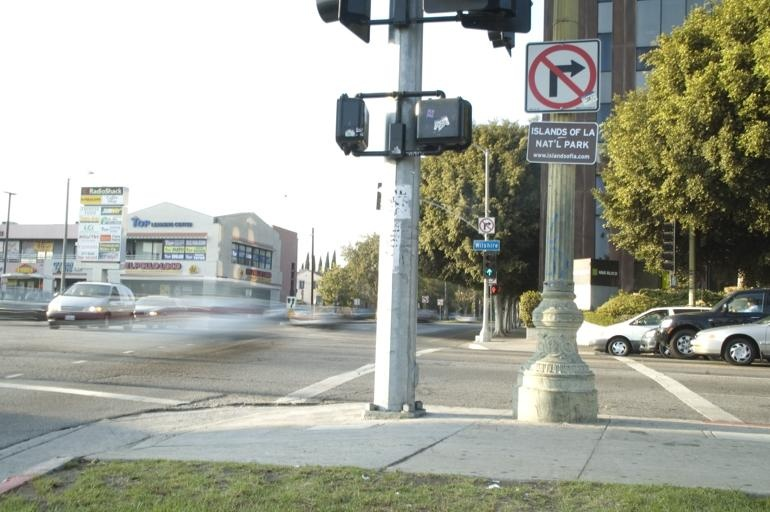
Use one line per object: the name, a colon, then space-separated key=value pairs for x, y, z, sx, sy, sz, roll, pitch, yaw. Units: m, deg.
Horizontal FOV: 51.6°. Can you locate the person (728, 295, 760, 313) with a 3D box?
person: x=10.980 y=1.469 z=24.303 sx=0.963 sy=0.525 sz=0.217 roll=-2 pitch=-3 yaw=25

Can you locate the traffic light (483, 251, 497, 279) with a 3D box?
traffic light: x=4.589 y=0.427 z=34.985 sx=0.455 sy=1.163 sz=0.484 roll=0 pitch=-3 yaw=2

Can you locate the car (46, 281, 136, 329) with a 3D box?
car: x=-10.871 y=1.825 z=30.403 sx=1.420 sy=1.145 sz=3.216 roll=-1 pitch=-8 yaw=4

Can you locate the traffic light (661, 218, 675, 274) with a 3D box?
traffic light: x=9.896 y=-0.332 z=27.770 sx=0.380 sy=1.640 sz=0.653 roll=-1 pitch=-3 yaw=14

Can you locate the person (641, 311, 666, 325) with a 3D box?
person: x=9.271 y=2.156 z=27.422 sx=0.660 sy=0.365 sz=0.435 roll=2 pitch=-1 yaw=10
